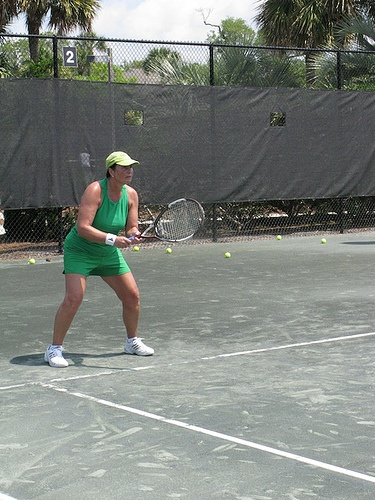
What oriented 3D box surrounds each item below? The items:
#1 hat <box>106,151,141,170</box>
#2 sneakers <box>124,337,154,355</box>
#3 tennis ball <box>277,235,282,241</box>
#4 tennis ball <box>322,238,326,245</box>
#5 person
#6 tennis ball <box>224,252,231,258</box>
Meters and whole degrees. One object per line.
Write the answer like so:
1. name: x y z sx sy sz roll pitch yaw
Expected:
1. hat: -0.463 -0.606 3.874 0.220 0.103 0.143 -14 -3 27
2. sneakers: -0.351 0.682 4.197 0.243 0.100 0.090 -1 0 38
3. tennis ball: 1.892 -0.253 12.037 0.111 0.115 0.103 -4 -11 -1
4. tennis ball: 2.617 -0.175 11.447 0.103 0.108 0.099 5 -10 1
5. person: -0.562 0.041 3.972 0.721 1.440 0.540 2 5 -2
6. tennis ball: 0.658 0.087 9.662 0.082 0.089 0.078 1 -37 1
